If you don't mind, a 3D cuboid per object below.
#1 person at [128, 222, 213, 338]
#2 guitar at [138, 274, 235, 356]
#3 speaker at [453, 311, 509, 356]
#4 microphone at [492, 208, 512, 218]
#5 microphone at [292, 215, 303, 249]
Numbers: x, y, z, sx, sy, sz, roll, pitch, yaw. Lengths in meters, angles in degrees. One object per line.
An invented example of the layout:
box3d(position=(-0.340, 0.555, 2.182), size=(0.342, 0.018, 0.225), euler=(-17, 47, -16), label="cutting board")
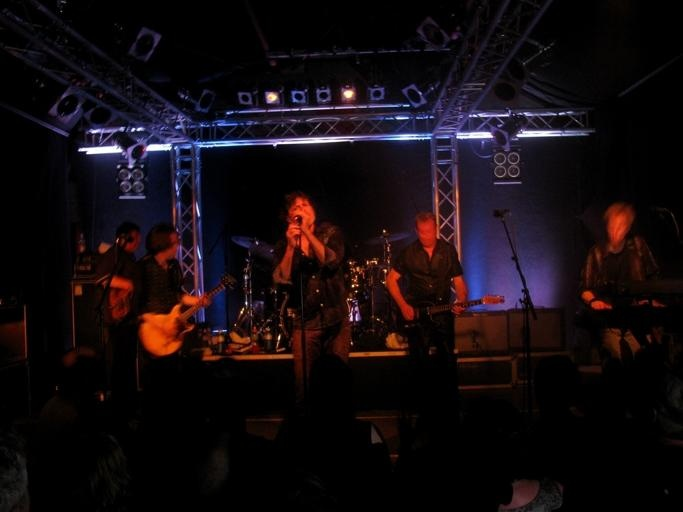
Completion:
box3d(position=(-2.062, 0.191, 7.305), size=(0.934, 1.675, 0.936), euler=(-1, 8, -2), label="person")
box3d(position=(-1.873, 0.643, 7.708), size=(1.427, 0.578, 0.166), euler=(-42, 15, -23), label="guitar")
box3d(position=(2.031, 1.114, 9.409), size=(0.893, 0.711, 0.564), euler=(-2, -8, 3), label="speaker")
box3d(position=(2.195, -0.582, 8.774), size=(0.325, 0.123, 0.239), euler=(-1, 14, -15), label="microphone")
box3d(position=(-0.448, -0.234, 6.713), size=(0.090, 0.338, 0.245), euler=(-1, -5, -4), label="microphone")
